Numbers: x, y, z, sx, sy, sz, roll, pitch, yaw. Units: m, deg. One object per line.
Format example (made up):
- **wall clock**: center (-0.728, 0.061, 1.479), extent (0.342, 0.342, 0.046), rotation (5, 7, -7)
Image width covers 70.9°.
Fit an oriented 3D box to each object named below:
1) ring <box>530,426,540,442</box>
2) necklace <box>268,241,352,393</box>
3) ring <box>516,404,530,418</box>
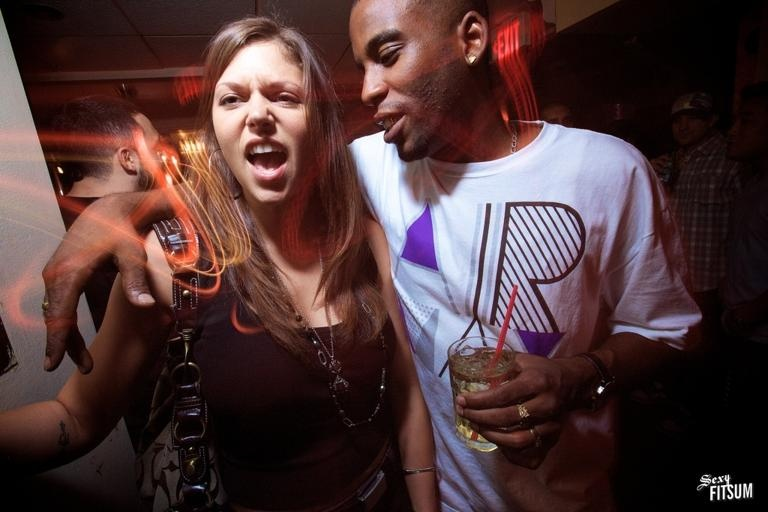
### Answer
- **ring**: center (0.572, 0.677, 2.046), extent (0.040, 0.041, 0.039), rotation (-27, 7, 4)
- **necklace**: center (-0.302, 0.217, 2.218), extent (0.180, 0.676, 0.074), rotation (-14, -23, -22)
- **ring**: center (0.522, 0.584, 2.020), extent (0.038, 0.053, 0.021), rotation (-18, 7, 3)
